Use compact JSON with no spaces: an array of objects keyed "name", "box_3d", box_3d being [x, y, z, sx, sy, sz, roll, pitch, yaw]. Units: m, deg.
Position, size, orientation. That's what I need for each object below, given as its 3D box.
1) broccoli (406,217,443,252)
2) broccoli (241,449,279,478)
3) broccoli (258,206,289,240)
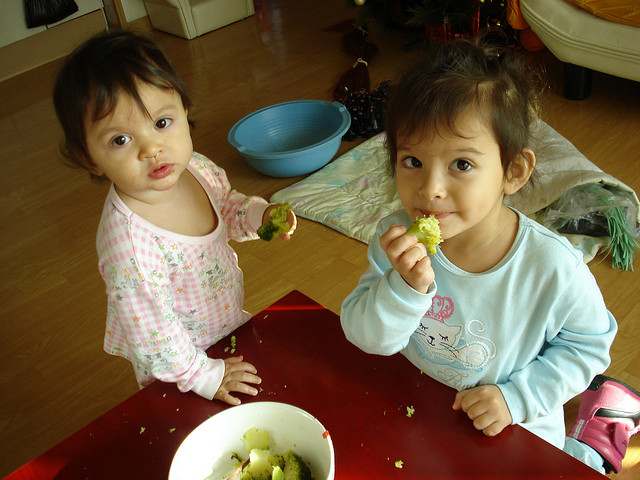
[{"name":"broccoli","box_3d":[0.197,-0.006,0.924,0.062,0.047,0.060,-14,79,10]},{"name":"broccoli","box_3d":[-0.105,0.384,0.828,0.065,0.032,0.042,-6,45,-1]},{"name":"broccoli","box_3d":[-0.112,-0.041,1.210,0.058,0.020,0.090,24,72,39]}]
